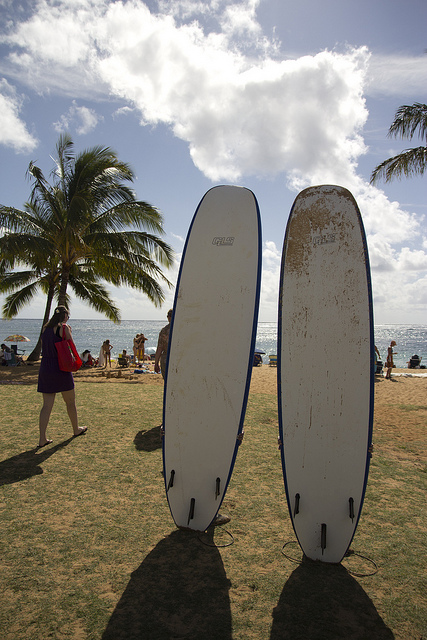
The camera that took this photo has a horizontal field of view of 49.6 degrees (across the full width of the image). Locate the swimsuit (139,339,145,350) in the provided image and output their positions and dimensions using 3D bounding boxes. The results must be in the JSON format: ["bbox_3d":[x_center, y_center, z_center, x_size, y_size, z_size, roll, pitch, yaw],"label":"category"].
[{"bbox_3d":[-2.635,0.864,16.893,0.145,0.358,0.288,3,3,11],"label":"swimsuit"}]

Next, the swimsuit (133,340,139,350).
[{"bbox_3d":[-2.868,0.906,17.038,0.152,0.444,0.072,2,-11,9],"label":"swimsuit"}]

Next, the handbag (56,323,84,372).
[{"bbox_3d":[-1.210,0.231,3.855,0.195,0.409,0.204,2,2,-19],"label":"handbag"}]

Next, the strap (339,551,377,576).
[{"bbox_3d":[0.779,1.299,2.444,0.196,0.021,0.171,1,4,-43],"label":"strap"}]

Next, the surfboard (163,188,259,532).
[{"bbox_3d":[-0.036,0.176,2.944,0.559,2.158,0.530,3,2,5],"label":"surfboard"}]

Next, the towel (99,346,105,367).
[{"bbox_3d":[-3.290,1.060,13.603,0.152,0.564,0.236,2,3,-13],"label":"towel"}]

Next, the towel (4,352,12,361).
[{"bbox_3d":[-5.538,0.947,12.406,0.171,0.183,0.113,2,3,-19],"label":"towel"}]

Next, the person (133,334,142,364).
[{"bbox_3d":[-2.797,1.046,17.029,0.271,0.989,1.628,2,2,-10],"label":"person"}]
